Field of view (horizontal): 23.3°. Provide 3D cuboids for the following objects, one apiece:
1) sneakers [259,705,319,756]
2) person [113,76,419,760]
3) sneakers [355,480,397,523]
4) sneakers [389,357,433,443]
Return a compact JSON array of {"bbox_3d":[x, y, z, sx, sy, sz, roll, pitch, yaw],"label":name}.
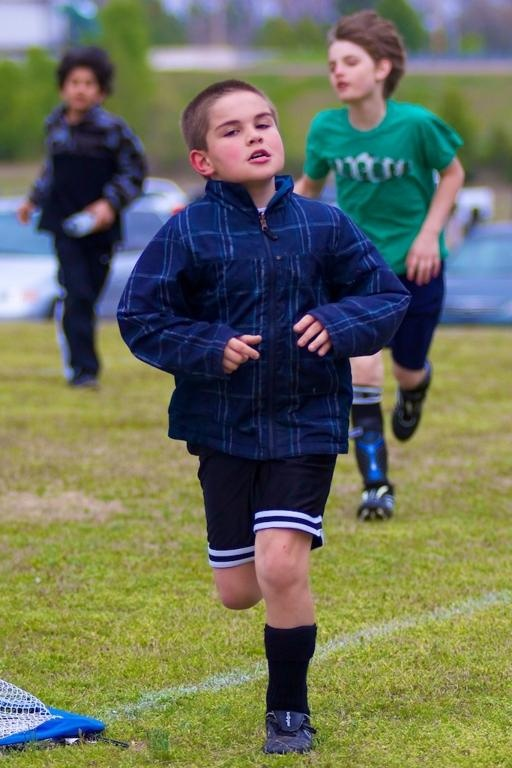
[{"bbox_3d":[0.070,0.736,2.619,0.106,0.078,0.113,2,12,4],"label":"sneakers"},{"bbox_3d":[-0.017,0.039,2.734,0.552,1.399,0.590,7,15,23],"label":"person"},{"bbox_3d":[0.415,0.418,4.302,0.129,0.135,0.343,-1,-7,7],"label":"sneakers"},{"bbox_3d":[0.555,0.094,4.760,0.121,0.318,0.131,20,39,12],"label":"sneakers"}]
